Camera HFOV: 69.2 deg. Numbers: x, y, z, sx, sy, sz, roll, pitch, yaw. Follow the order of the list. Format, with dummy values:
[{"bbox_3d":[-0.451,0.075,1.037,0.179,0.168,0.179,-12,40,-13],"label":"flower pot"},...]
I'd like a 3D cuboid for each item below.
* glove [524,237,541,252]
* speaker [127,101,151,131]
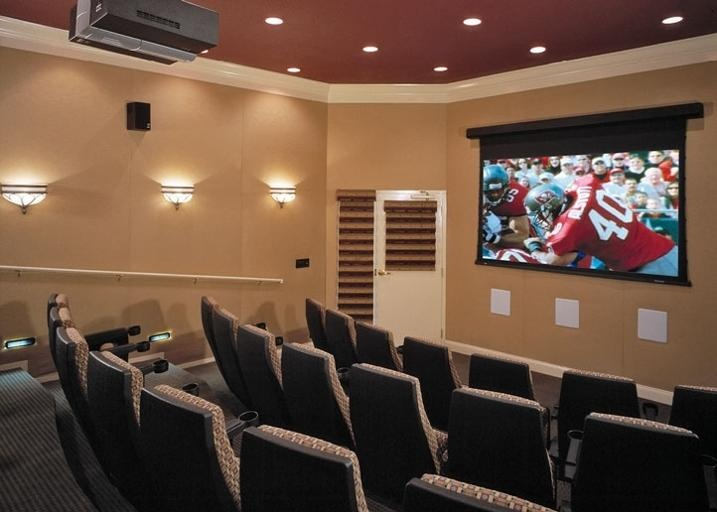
[{"bbox_3d":[2.293,-0.161,6.859,0.146,0.153,0.183,1,-8,15],"label":"glove"},{"bbox_3d":[-2.626,-1.667,6.224,0.294,0.335,0.151,-2,4,-27],"label":"speaker"}]
